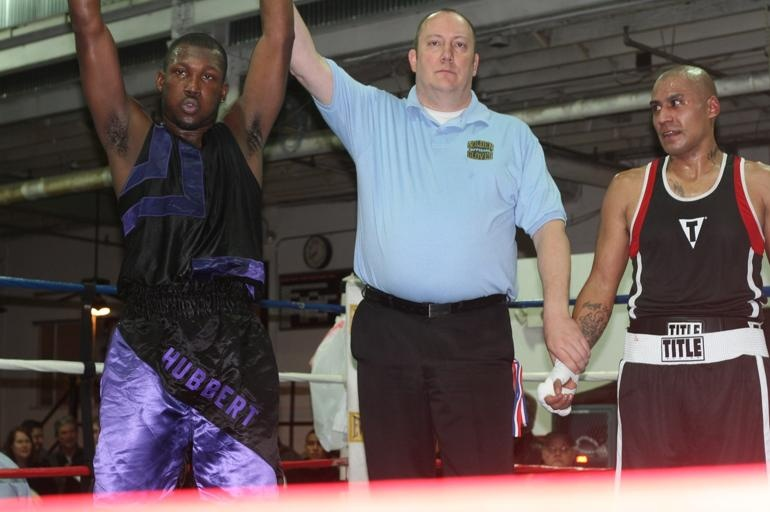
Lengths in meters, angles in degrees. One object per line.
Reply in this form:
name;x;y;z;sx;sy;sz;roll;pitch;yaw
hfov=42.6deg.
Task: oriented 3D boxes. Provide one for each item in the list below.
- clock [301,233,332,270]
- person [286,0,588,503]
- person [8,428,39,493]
clock;-1.113;-0.052;16.134;0.565;0.628;0.130;-3;-19;37
person;0.258;-0.091;4.665;1.228;2.242;0.396;-5;-9;8
person;-3.600;1.891;9.722;0.252;0.383;0.973;0;-10;-21
